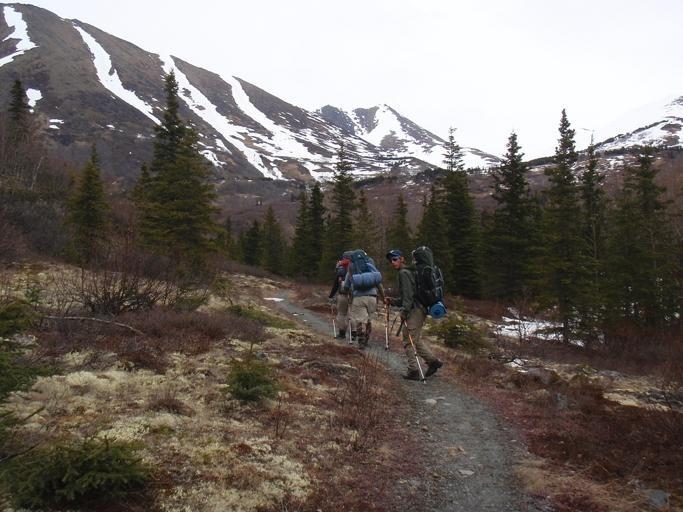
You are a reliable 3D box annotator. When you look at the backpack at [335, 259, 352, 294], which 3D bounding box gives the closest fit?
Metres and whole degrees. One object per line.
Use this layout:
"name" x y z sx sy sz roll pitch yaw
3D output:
"backpack" 0.007 0.734 21.766 0.358 1.056 0.709 11 -8 -22
